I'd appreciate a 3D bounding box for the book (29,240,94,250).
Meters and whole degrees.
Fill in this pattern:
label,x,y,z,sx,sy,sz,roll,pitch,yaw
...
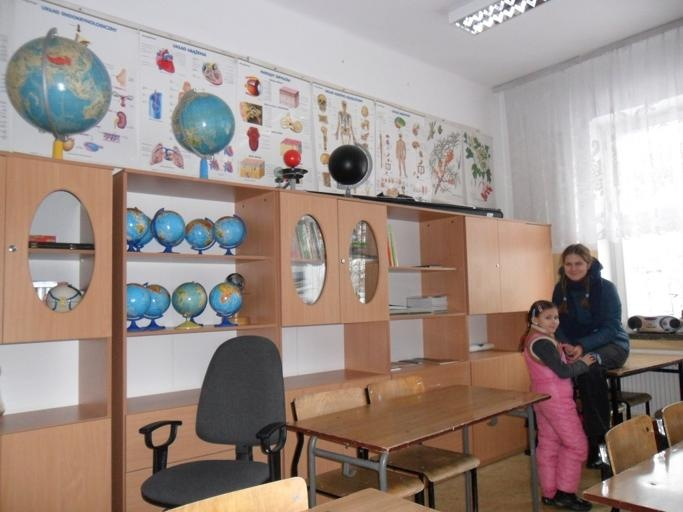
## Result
label,x,y,z,sx,sy,sz,roll,pitch,yaw
book,-1.513,-0.048,2.775,0.309,0.054,0.036,-3,1,-30

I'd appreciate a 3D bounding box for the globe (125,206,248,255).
label,x,y,z,sx,sy,sz,roll,pitch,yaw
globe,-0.980,-0.099,3.394,0.890,0.386,0.245,6,-7,-35

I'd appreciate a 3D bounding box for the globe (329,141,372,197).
label,x,y,z,sx,sy,sz,roll,pitch,yaw
globe,0.092,-0.614,3.863,0.325,0.387,0.354,-3,1,22

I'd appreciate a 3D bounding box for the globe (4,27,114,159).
label,x,y,z,sx,sy,sz,roll,pitch,yaw
globe,-1.530,-0.867,2.748,0.459,0.738,0.264,-2,1,3

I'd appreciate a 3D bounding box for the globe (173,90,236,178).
label,x,y,z,sx,sy,sz,roll,pitch,yaw
globe,-0.889,-0.735,3.237,0.263,0.470,0.313,7,1,-32

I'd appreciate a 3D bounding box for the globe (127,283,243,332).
label,x,y,z,sx,sy,sz,roll,pitch,yaw
globe,-1.009,0.290,3.153,0.823,0.371,0.243,2,-5,-38
